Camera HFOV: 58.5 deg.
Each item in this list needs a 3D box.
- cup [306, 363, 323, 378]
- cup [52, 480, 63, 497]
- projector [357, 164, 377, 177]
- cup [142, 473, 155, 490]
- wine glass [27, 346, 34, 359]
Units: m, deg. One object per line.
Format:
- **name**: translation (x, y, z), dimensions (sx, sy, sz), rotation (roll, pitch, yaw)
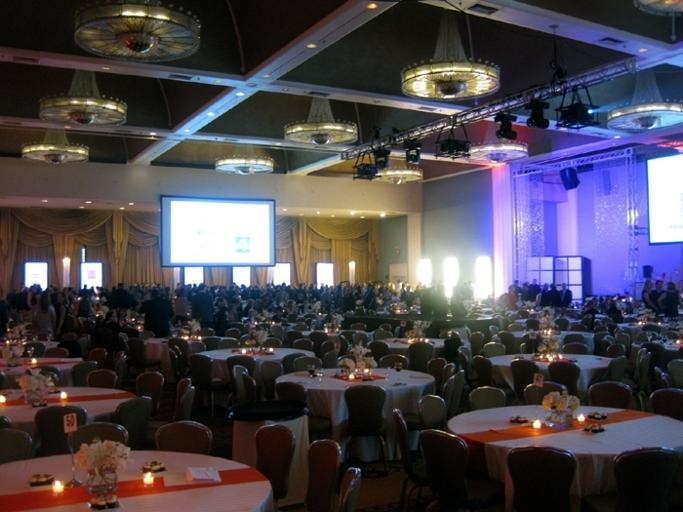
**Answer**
- **cup**: translation (-0.351, 1.559, 8.374), dimensions (0.187, 0.141, 0.191), rotation (1, -8, 0)
- **cup**: translation (-2.353, 1.909, 5.037), dimensions (0.093, 0.108, 0.092), rotation (1, -3, 0)
- **projector**: translation (0.684, -2.218, 16.246), dimensions (0.356, 0.343, 0.504), rotation (-2, -4, 17)
- **cup**: translation (-1.624, 1.899, 5.169), dimensions (0.093, 0.106, 0.095), rotation (0, -8, 0)
- **wine glass**: translation (-5.366, 1.661, 10.512), dimensions (0.136, 0.223, 0.143), rotation (6, -12, -44)
